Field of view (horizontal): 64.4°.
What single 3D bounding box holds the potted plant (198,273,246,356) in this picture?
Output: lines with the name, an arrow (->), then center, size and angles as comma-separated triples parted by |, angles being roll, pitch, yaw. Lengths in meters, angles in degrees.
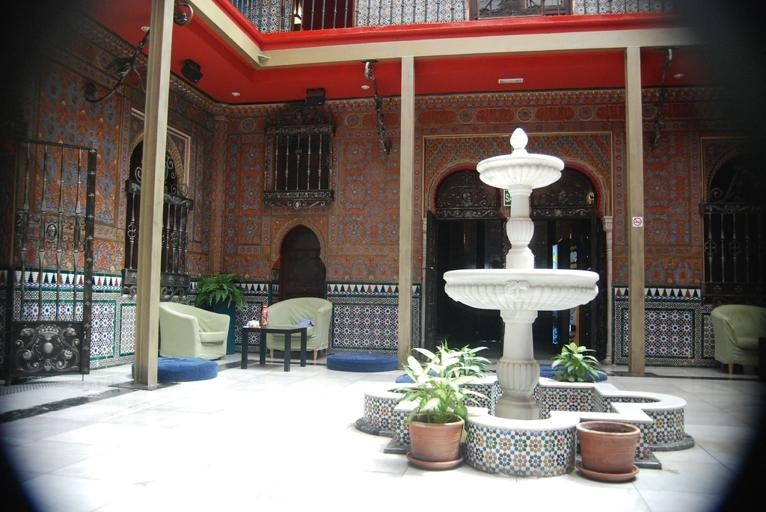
potted plant -> -3.000, 1.015, 11.300 | 0.939, 1.340, 0.891 | -1, 3, 2

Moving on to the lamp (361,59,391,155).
lamp -> -0.071, -2.595, 10.786 | 0.263, 1.792, 0.469 | 1, 39, 18

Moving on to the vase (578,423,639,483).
vase -> 1.885, 1.645, 5.092 | 0.444, 0.331, 0.446 | -1, -8, 12

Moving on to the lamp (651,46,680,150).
lamp -> 4.591, -2.525, 10.032 | 0.310, 1.276, 1.900 | 1, 2, 23

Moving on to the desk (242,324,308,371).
desk -> -1.754, 1.448, 9.989 | 1.007, 0.729, 1.600 | 0, 2, -7

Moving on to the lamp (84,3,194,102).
lamp -> -3.614, -3.009, 8.866 | 1.878, 0.576, 0.394 | -38, -37, 21

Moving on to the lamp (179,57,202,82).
lamp -> -3.144, -3.063, 10.007 | 0.280, 0.377, 0.124 | 0, 12, -20

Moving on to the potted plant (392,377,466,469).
potted plant -> 0.456, 1.622, 5.404 | 0.509, 0.386, 0.517 | 0, -5, 15

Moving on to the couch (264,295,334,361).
couch -> -1.488, 1.256, 10.704 | 1.091, 1.111, 1.040 | 2, -6, 9

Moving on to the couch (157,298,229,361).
couch -> -3.065, 1.215, 9.569 | 0.887, 0.955, 1.204 | 0, 2, 0
